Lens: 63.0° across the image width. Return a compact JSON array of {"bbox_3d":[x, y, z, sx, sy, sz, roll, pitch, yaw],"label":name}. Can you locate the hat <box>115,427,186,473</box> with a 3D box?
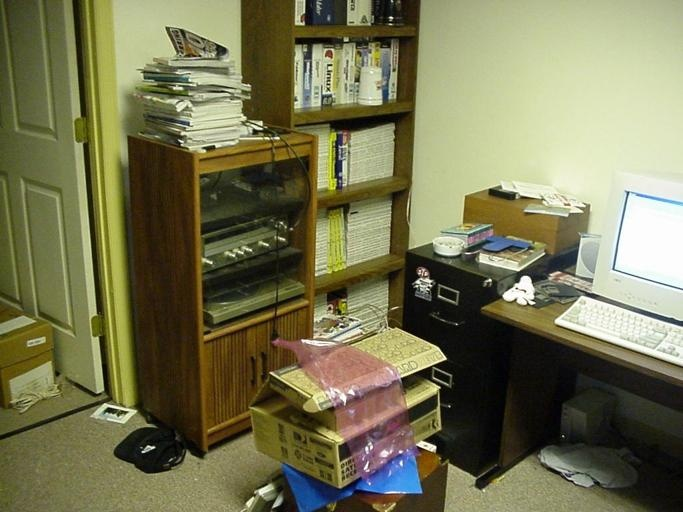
[{"bbox_3d":[-0.902,0.917,2.669,0.334,0.079,0.230,12,23,26],"label":"hat"}]

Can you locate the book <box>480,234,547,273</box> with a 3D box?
[{"bbox_3d":[0.798,-0.021,2.557,0.207,0.046,0.197,-23,29,-39],"label":"book"}]

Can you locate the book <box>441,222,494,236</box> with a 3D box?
[{"bbox_3d":[0.618,-0.134,2.708,0.120,0.027,0.121,8,18,41],"label":"book"}]

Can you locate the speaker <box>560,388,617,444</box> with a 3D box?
[{"bbox_3d":[1.224,0.806,2.773,0.267,0.226,0.140,-7,19,-30],"label":"speaker"}]

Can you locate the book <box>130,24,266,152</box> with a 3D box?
[{"bbox_3d":[-0.644,-0.701,2.543,0.551,0.570,0.615,-18,36,-36],"label":"book"}]
